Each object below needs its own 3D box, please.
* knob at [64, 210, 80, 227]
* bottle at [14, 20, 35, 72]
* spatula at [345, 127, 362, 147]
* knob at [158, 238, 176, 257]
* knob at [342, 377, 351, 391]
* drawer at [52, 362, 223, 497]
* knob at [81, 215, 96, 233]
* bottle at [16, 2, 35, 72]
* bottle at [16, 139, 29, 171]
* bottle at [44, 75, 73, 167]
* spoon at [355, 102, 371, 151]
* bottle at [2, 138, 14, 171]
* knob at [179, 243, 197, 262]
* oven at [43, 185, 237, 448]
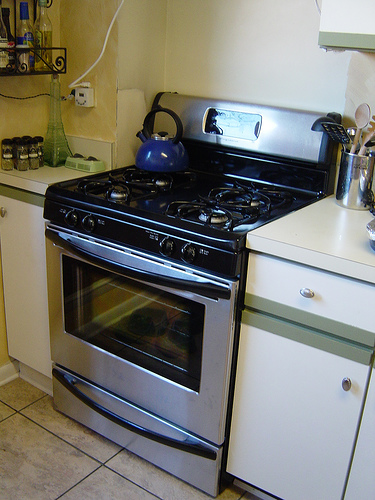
[{"bbox_3d":[-0.349,-0.095,1.227,0.061,0.052,0.016,13,17,33],"label":"knob"},{"bbox_3d":[-0.565,-0.700,1.411,0.067,0.175,0.115,-2,15,-20],"label":"bottle"},{"bbox_3d":[0.467,-0.324,1.162,0.039,0.054,0.051,1,7,13],"label":"spatula"},{"bbox_3d":[-0.057,-0.008,1.020,0.060,0.047,0.017,17,19,42],"label":"knob"},{"bbox_3d":[0.347,0.292,0.891,0.006,0.026,0.019,1,-2,-41],"label":"knob"},{"bbox_3d":[-0.212,0.574,1.372,0.734,0.220,0.075,13,17,32],"label":"drawer"},{"bbox_3d":[-0.287,-0.077,1.184,0.037,0.051,0.018,6,16,30],"label":"knob"},{"bbox_3d":[-0.573,-0.741,1.435,0.058,0.221,0.125,-3,15,-21],"label":"bottle"},{"bbox_3d":[-0.606,-0.347,1.500,0.044,0.111,0.044,3,14,-1],"label":"bottle"},{"bbox_3d":[-0.513,-0.503,1.629,0.093,0.345,0.090,4,25,-2],"label":"bottle"},{"bbox_3d":[0.477,-0.351,1.120,0.031,0.154,0.021,14,20,31],"label":"spoon"},{"bbox_3d":[-0.653,-0.344,1.482,0.043,0.112,0.060,-3,15,-24],"label":"bottle"},{"bbox_3d":[-0.003,0.003,0.971,0.033,0.043,0.013,9,13,32],"label":"knob"},{"bbox_3d":[-0.070,0.194,1.394,0.737,0.749,0.539,11,19,24],"label":"oven"}]
